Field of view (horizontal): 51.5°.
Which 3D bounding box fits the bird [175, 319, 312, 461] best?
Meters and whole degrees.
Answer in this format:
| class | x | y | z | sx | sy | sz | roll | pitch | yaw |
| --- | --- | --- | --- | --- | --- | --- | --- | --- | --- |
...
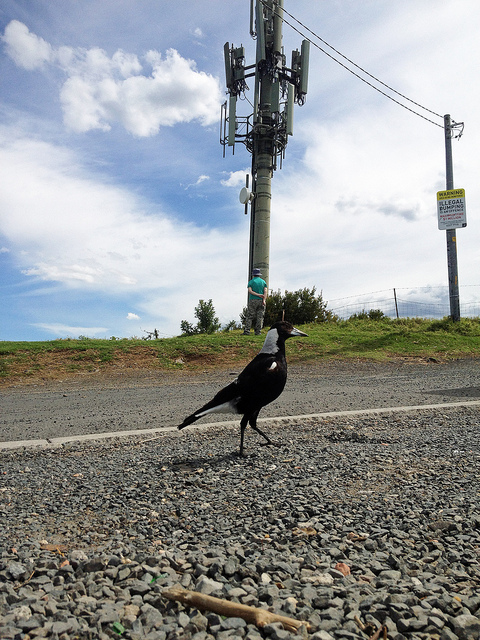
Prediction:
| class | x | y | z | sx | sy | sz | roll | pitch | yaw |
| --- | --- | --- | --- | --- | --- | --- | --- | --- | --- |
| bird | 0.117 | 0.580 | 4.459 | 0.582 | 1.162 | 1.063 | -3 | -4 | 40 |
